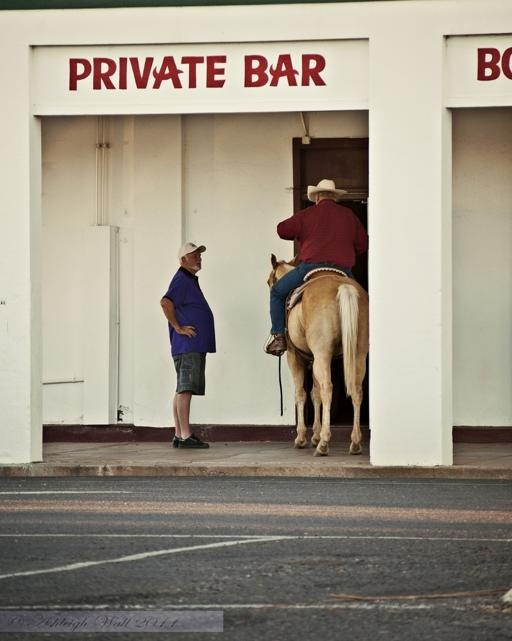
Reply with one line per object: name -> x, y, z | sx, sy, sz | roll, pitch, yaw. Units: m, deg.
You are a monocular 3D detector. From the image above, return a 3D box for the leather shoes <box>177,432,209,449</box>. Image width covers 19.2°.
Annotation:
leather shoes -> -0.645, 1.193, 14.942 | 0.288, 0.165, 0.141 | -1, -2, 5

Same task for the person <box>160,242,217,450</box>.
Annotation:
person -> -0.679, 0.249, 14.866 | 0.613, 2.043, 0.381 | 0, -2, -23

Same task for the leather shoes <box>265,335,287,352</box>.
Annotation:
leather shoes -> 0.207, 0.236, 14.795 | 0.179, 0.232, 0.129 | -1, 1, 1

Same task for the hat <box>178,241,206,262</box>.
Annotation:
hat -> -0.647, -0.690, 14.929 | 0.207, 0.137, 0.148 | -17, -2, 28

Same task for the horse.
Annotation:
horse -> 0.629, 0.394, 14.179 | 0.731, 1.708, 2.018 | 0, -1, -4
